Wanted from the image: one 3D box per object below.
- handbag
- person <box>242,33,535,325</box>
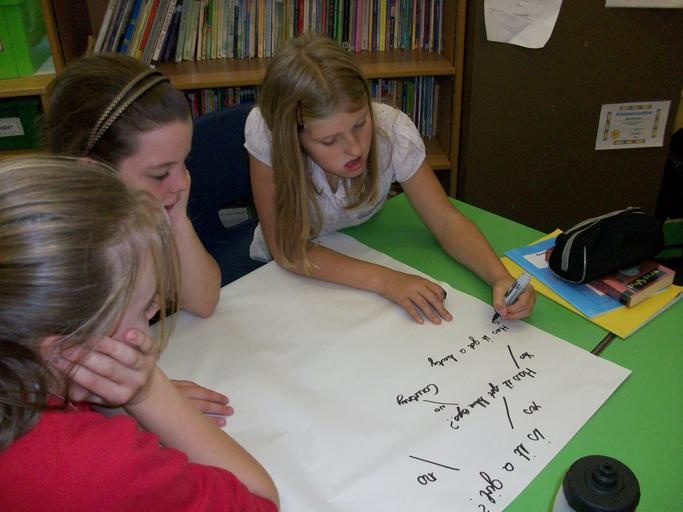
[{"bbox_3d":[0.629,-0.034,1.277,0.260,0.127,0.161,-18,16,-14],"label":"handbag"},{"bbox_3d":[0.109,-0.183,1.430,0.841,0.659,0.482,25,56,24],"label":"person"}]
